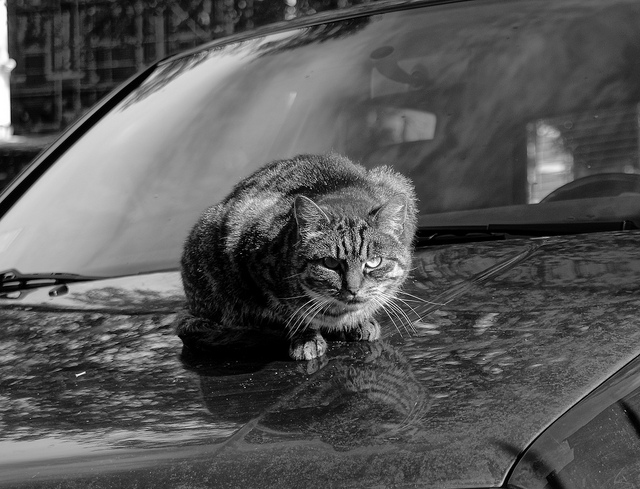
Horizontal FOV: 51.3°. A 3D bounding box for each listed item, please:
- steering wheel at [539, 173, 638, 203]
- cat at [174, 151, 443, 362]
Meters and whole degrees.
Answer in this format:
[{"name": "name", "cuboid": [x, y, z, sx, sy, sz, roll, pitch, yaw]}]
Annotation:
[{"name": "steering wheel", "cuboid": [0.649, -0.134, 1.597, 0.204, 0.082, 0.019, 5, 12, 12]}, {"name": "cat", "cuboid": [-0.034, -0.003, 1.526, 0.571, 0.371, 0.661, 1, 12, -9]}]
